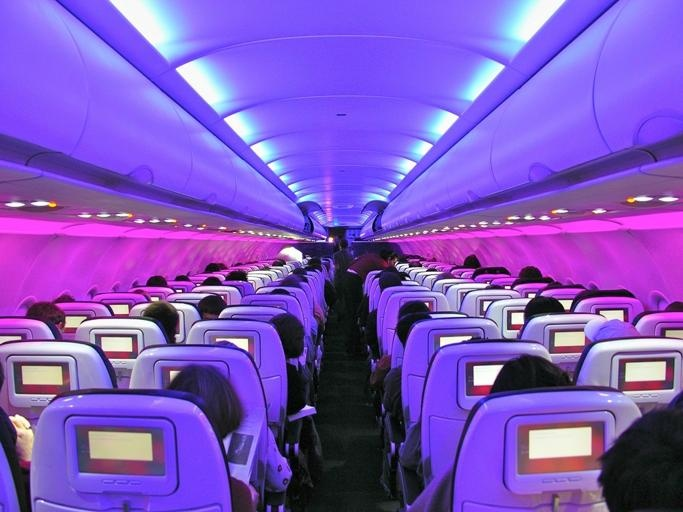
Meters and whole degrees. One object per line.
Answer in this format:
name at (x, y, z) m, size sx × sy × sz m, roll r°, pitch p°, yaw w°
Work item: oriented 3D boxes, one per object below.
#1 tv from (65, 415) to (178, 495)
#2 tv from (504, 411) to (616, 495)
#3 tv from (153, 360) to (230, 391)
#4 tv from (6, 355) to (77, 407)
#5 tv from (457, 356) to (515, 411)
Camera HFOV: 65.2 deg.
tv at (-1.142, 1.015, 2.764) m, size 0.511 × 0.326 × 0.064 m, roll 0°, pitch 5°, yaw 5°
tv at (1.072, 0.977, 2.680) m, size 0.588 × 0.374 × 0.079 m, roll 0°, pitch 3°, yaw -5°
tv at (-1.029, 0.802, 3.640) m, size 0.508 × 0.170 × 0.121 m, roll -3°, pitch -20°, yaw 6°
tv at (-2.117, 0.864, 3.773) m, size 0.463 × 0.266 × 0.220 m, roll 1°, pitch 5°, yaw 2°
tv at (0.964, 0.907, 3.596) m, size 0.545 × 0.342 × 0.117 m, roll -2°, pitch 17°, yaw -10°
